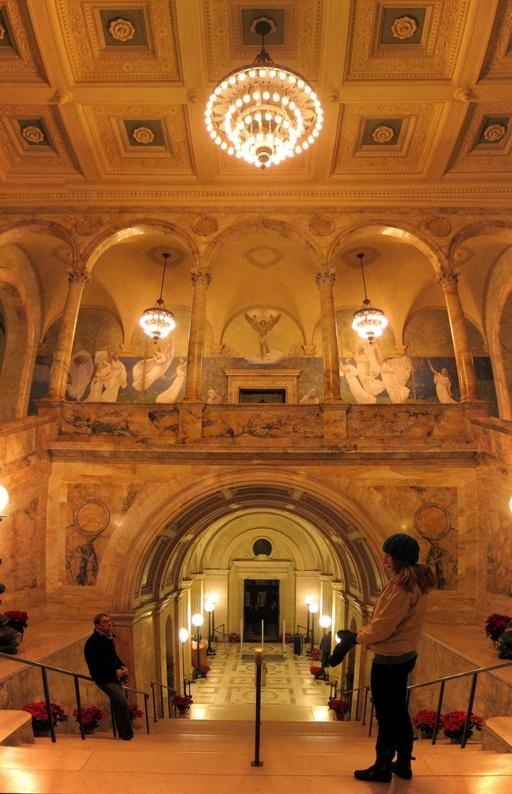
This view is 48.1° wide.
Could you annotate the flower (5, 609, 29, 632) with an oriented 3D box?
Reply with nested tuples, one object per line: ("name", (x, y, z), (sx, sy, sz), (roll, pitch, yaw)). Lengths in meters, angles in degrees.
("flower", (-3.188, 3.001, 7.636), (0.249, 0.280, 0.558), (7, -18, -21))

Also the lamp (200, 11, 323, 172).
("lamp", (0.092, -5.203, 9.179), (1.135, 1.833, 1.123), (5, -17, -15))

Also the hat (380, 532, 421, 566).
("hat", (1.015, 1.041, 3.892), (0.237, 0.194, 0.219), (8, 10, -13))

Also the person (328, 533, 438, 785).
("person", (0.867, 1.688, 3.726), (0.637, 1.554, 0.729), (-5, -17, 16))

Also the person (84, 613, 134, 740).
("person", (-1.613, 3.096, 6.294), (0.533, 1.366, 0.791), (3, -17, -11))

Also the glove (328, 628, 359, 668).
("glove", (0.563, 1.611, 3.633), (0.162, 0.247, 0.621), (-3, -17, 9))
